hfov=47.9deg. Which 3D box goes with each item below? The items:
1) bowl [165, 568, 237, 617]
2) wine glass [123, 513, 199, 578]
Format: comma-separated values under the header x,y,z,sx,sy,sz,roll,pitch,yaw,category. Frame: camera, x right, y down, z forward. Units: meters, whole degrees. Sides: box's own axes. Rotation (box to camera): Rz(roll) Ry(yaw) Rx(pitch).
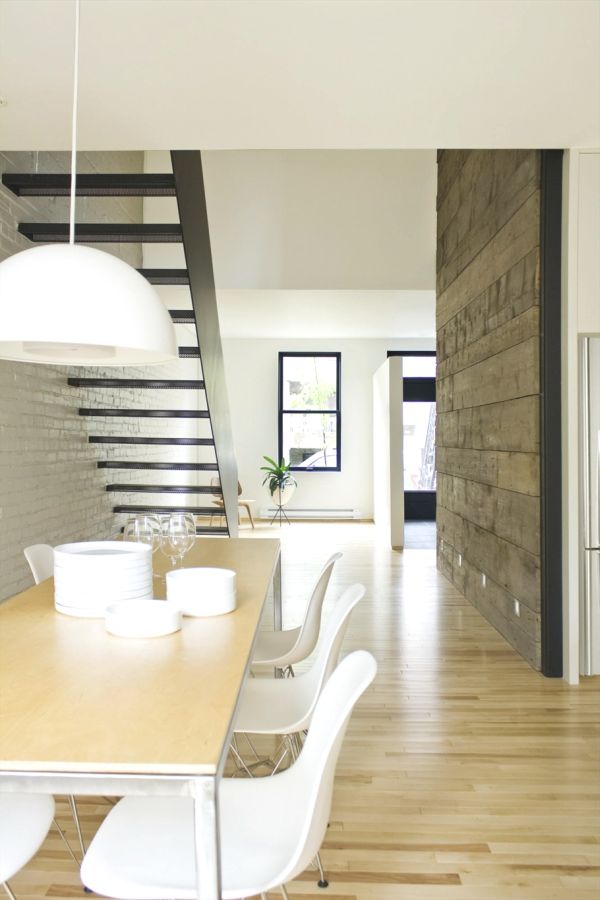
x,y,z,sx,sy,sz,roll,pitch,yaw,category
-0.229,0.331,1.599,0.105,0.066,0.121,0,0,-5,bowl
-0.377,0.236,1.855,0.153,0.197,0.179,0,2,3,wine glass
